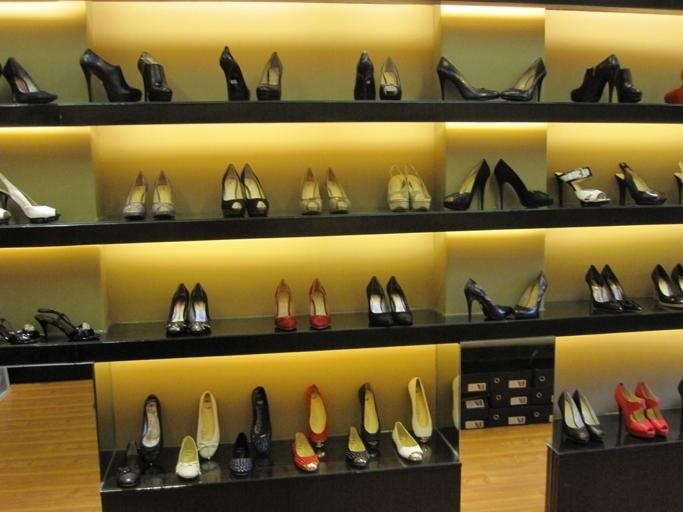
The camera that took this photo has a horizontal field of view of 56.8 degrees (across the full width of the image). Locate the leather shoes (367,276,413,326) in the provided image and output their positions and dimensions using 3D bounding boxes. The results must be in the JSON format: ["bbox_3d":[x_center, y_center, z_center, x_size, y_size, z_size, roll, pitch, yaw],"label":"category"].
[{"bbox_3d":[0.279,0.267,3.805,0.189,0.129,0.341,-5,21,-10],"label":"leather shoes"}]

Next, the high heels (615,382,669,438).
[{"bbox_3d":[1.869,0.959,3.975,0.207,0.152,0.370,-6,24,-6],"label":"high heels"}]

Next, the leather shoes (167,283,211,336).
[{"bbox_3d":[-0.898,0.289,3.721,0.194,0.146,0.364,-1,19,-7],"label":"leather shoes"}]

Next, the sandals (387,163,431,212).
[{"bbox_3d":[0.403,-0.415,3.882,0.191,0.132,0.364,-4,31,-2],"label":"sandals"}]

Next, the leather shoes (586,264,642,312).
[{"bbox_3d":[1.679,0.180,3.994,0.234,0.242,0.331,-9,13,-26],"label":"leather shoes"}]

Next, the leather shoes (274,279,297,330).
[{"bbox_3d":[-0.333,0.282,3.782,0.104,0.130,0.330,-2,35,-6],"label":"leather shoes"}]

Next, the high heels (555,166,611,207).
[{"bbox_3d":[1.498,-0.441,3.969,0.133,0.230,0.389,-6,10,-34],"label":"high heels"}]

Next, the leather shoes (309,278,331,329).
[{"bbox_3d":[-0.129,0.281,3.819,0.101,0.111,0.308,-2,42,-6],"label":"leather shoes"}]
